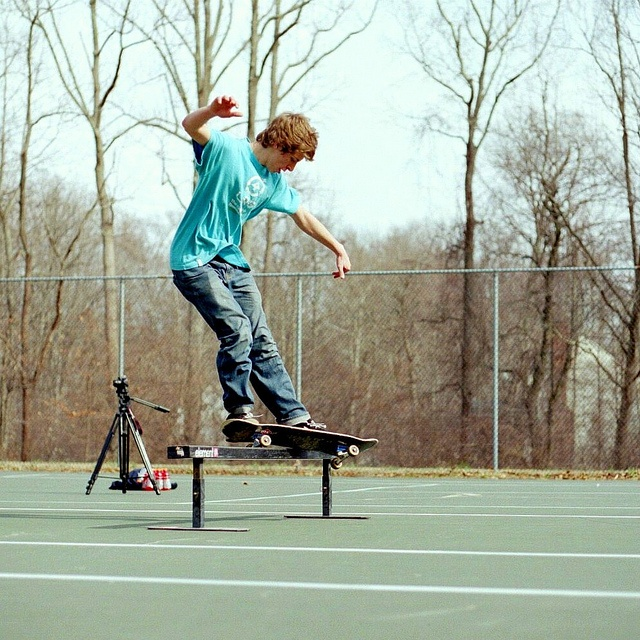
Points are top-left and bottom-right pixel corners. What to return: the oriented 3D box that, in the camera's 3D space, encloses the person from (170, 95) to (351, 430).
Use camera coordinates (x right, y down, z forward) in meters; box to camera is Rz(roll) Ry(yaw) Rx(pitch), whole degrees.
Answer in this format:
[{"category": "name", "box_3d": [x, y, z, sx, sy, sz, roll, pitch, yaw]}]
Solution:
[{"category": "person", "box_3d": [-0.400, -0.308, 7.361, 1.047, 1.910, 0.772, 2, -5, -28]}]
